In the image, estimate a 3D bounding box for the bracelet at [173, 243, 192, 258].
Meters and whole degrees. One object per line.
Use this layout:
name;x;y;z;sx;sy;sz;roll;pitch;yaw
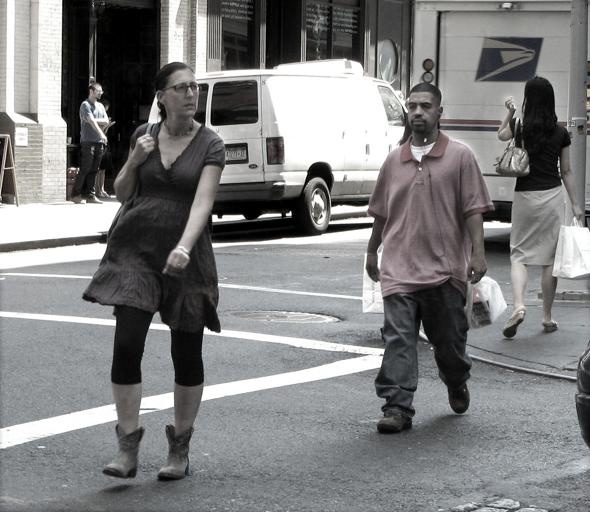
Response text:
bracelet;-0.487;-0.021;3.140;0.067;0.053;0.068;1;4;-7

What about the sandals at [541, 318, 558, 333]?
sandals;2.455;0.679;7.032;0.078;0.083;0.182;3;7;27

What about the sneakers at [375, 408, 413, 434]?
sneakers;0.564;0.946;4.169;0.087;0.097;0.229;-3;-7;26

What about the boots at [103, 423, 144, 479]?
boots;-0.755;0.867;3.216;0.131;0.220;0.202;1;4;3

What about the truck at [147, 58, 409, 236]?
truck;0.065;-2.322;15.457;2.933;2.866;5.642;1;9;32

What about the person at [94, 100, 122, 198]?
person;-5.610;-3.117;20.912;0.959;2.900;1.030;5;19;-4

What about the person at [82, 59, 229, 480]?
person;-0.638;0.059;3.351;0.609;1.924;0.528;1;3;-8

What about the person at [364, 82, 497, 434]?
person;0.816;-0.034;4.440;0.742;2.044;0.773;1;3;4

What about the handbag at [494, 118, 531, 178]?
handbag;2.107;-1.049;7.081;0.298;0.583;0.384;1;4;1

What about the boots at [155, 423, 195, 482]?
boots;-0.549;0.898;3.364;0.114;0.237;0.318;3;-6;3

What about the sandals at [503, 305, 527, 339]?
sandals;1.982;0.646;6.641;0.130;0.387;0.159;12;44;-6

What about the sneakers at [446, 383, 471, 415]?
sneakers;1.027;0.849;4.564;0.083;0.262;0.106;-2;14;19
